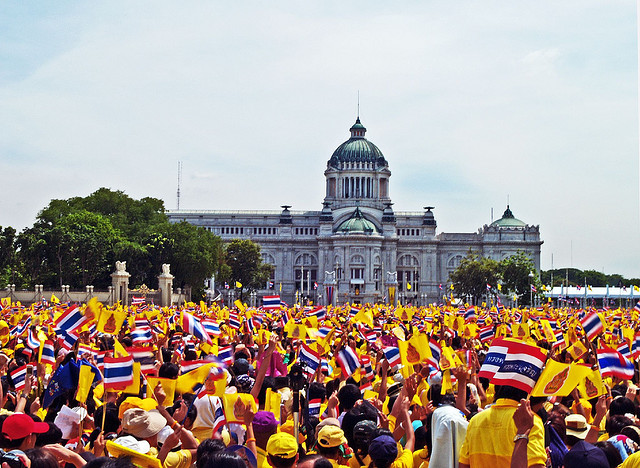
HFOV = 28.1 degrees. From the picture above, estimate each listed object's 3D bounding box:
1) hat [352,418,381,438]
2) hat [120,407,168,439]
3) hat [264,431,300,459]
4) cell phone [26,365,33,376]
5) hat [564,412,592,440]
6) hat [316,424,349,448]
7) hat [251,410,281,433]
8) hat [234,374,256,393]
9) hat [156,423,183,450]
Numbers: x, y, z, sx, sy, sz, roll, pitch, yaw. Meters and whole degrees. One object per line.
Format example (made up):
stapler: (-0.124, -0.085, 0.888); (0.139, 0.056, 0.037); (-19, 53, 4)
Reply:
hat: (0.826, 3.406, 22.513); (0.470, 0.314, 0.381); (1, -6, 0)
hat: (-3.027, 3.239, 22.034); (0.729, 0.505, 0.235); (2, -6, -8)
hat: (-0.633, 3.502, 21.335); (0.511, 0.411, 0.304); (1, -6, 1)
cell phone: (-5.723, 2.661, 25.287); (0.136, 0.272, 0.143); (0, -9, -10)
hat: (4.766, 3.531, 23.656); (0.373, 0.169, 0.406); (-15, 14, -43)
hat: (0.193, 3.417, 21.698); (0.483, 0.383, 0.267); (2, -6, -2)
hat: (-0.965, 3.283, 22.445); (0.467, 0.290, 0.683); (1, -1, -6)
hat: (-1.533, 2.981, 25.835); (0.271, 0.394, 0.384); (-2, 12, 22)
hat: (-2.659, 3.528, 22.578); (0.272, 0.343, 0.361); (-10, -16, 34)
